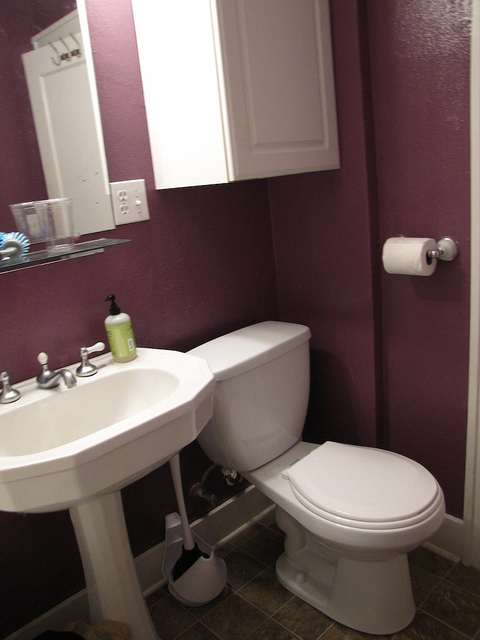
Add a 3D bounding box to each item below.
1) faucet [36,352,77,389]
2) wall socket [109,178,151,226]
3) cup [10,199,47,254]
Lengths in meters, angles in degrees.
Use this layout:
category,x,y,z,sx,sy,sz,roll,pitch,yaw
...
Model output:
category,x,y,z,sx,sy,sz,roll,pitch,yaw
faucet,-0.413,0.103,1.199,0.111,0.072,0.055,15,27,32
wall socket,-0.291,-0.308,1.352,0.019,0.111,0.111,9,24,37
cup,-0.491,-0.211,1.161,0.090,0.118,0.098,-4,15,1
